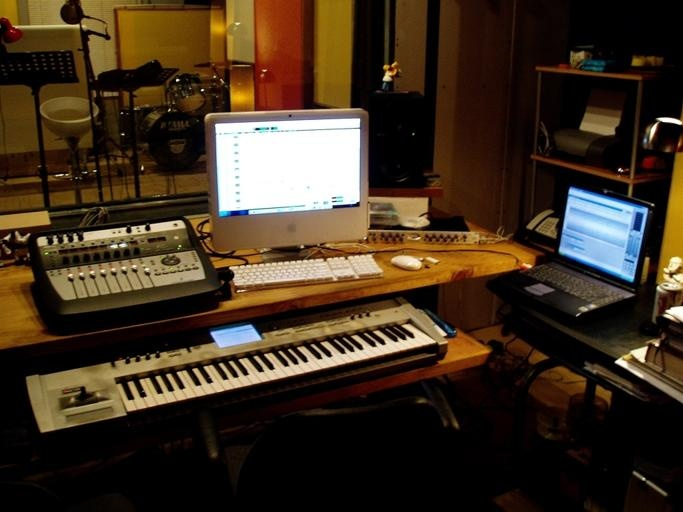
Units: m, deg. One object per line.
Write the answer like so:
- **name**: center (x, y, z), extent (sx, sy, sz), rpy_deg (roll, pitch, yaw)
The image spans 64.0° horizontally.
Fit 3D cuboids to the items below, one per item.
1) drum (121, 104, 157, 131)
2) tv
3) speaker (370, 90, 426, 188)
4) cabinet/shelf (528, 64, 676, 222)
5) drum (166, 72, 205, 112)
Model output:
- **drum**: center (-1.025, -0.694, 2.742), extent (0.190, 0.163, 0.096), rpy_deg (-6, 31, -19)
- **tv**: center (-0.234, -0.306, 2.320), extent (0.767, 0.537, 0.074), rpy_deg (-4, 15, -13)
- **speaker**: center (0.255, -0.528, 2.513), extent (0.256, 0.414, 0.137), rpy_deg (0, 26, 8)
- **cabinet/shelf**: center (1.611, -0.606, 3.210), extent (0.602, 0.927, 0.811), rpy_deg (-7, 22, -14)
- **drum**: center (-0.784, -0.821, 2.764), extent (0.162, 0.187, 0.079), rpy_deg (-7, 31, -16)
